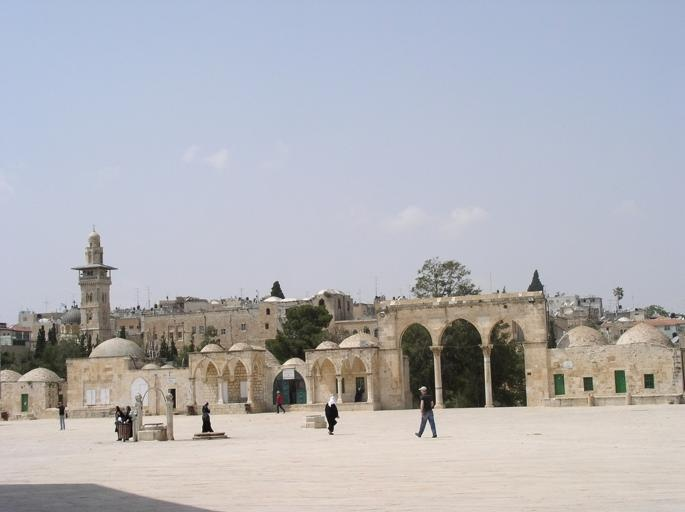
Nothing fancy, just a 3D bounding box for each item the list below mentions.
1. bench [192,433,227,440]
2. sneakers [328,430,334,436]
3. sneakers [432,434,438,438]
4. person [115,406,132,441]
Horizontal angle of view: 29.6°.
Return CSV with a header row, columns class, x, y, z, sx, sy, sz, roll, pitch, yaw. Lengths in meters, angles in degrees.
class,x,y,z,sx,sy,sz,roll,pitch,yaw
bench,-4.110,5.504,39.954,1.051,0.241,0.933,-2,-9,-8
sneakers,-0.386,5.419,40.034,0.146,0.114,0.199,-4,-17,-1
sneakers,2.667,5.186,37.612,0.067,0.148,0.206,0,5,-22
person,-6.867,5.212,40.566,0.499,1.156,2.182,-1,-9,-10
